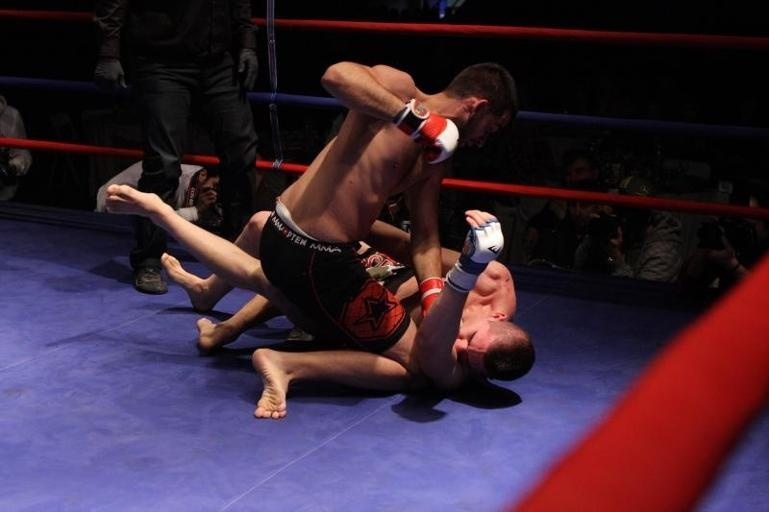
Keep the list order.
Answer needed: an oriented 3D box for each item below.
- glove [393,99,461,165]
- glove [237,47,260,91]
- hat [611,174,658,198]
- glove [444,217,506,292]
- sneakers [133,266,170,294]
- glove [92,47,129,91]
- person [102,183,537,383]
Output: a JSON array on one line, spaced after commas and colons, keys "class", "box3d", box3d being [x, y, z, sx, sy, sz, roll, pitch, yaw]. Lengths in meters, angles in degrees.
[{"class": "glove", "box3d": [0.142, -0.390, 2.096, 0.221, 0.106, 0.171, 37, 34, -4]}, {"class": "glove", "box3d": [-0.649, -0.904, 3.161, 0.071, 0.172, 0.141, 2, -19, 24]}, {"class": "hat", "box3d": [1.382, -0.381, 3.586, 0.175, 0.090, 0.212, 2, 8, 0]}, {"class": "glove", "box3d": [0.284, -0.005, 2.053, 0.130, 0.247, 0.105, 10, 27, -8]}, {"class": "sneakers", "box3d": [-1.058, 0.116, 2.949, 0.090, 0.078, 0.232, -2, 7, -37]}, {"class": "glove", "box3d": [-1.248, -0.866, 3.055, 0.190, 0.156, 0.119, 3, 1, -10]}, {"class": "person", "box3d": [-0.320, 0.024, 2.348, 1.465, 0.355, 0.700, 22, 16, 4]}]
